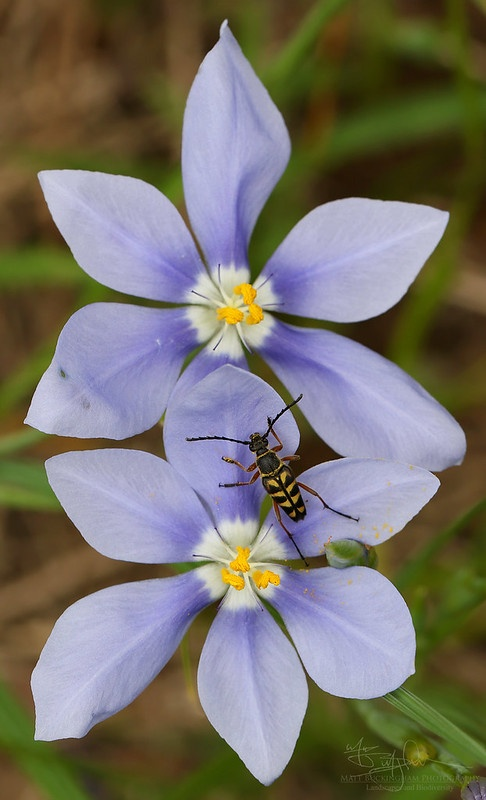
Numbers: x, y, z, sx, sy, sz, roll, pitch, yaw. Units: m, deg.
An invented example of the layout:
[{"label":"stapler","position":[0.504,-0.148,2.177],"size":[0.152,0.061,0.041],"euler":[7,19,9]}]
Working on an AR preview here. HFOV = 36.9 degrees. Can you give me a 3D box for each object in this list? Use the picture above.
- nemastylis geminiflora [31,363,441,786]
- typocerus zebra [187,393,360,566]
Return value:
[{"label":"nemastylis geminiflora","position":[-0.051,0.373,1.724],"size":[0.735,1.069,0.986],"euler":[-5,103,-1]},{"label":"typocerus zebra","position":[0.087,0.145,1.508],"size":[0.236,0.113,0.330],"euler":[-40,74,-4]}]
